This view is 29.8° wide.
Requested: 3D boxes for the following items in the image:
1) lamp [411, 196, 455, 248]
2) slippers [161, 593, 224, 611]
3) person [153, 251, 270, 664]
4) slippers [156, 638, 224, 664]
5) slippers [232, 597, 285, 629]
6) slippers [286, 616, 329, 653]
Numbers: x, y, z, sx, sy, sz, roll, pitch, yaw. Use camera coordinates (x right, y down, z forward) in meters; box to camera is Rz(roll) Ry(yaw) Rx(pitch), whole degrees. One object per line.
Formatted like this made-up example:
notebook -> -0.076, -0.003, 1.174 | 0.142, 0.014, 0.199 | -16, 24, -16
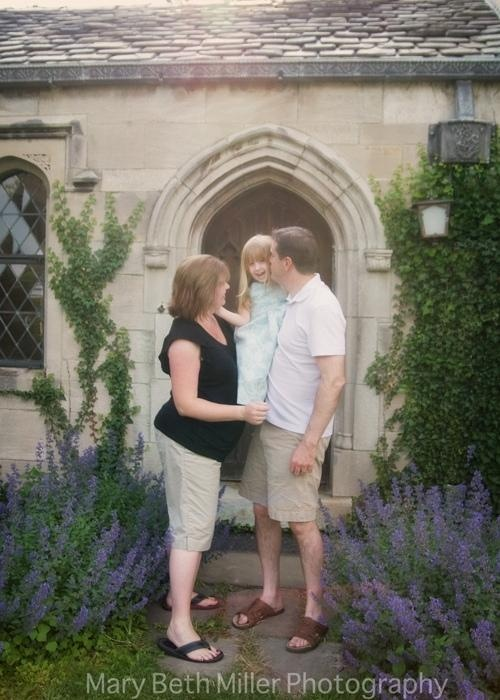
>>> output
lamp -> 1.228, -0.845, 6.287 | 0.288, 0.260, 0.246 | 0, -6, 6
slippers -> -0.329, 1.380, 5.148 | 0.306, 0.070, 0.113 | -2, -2, 5
person -> -0.250, 0.527, 4.754 | 0.465, 1.942, 0.649 | -1, 10, -6
slippers -> -0.309, 1.458, 4.661 | 0.269, 0.068, 0.127 | 2, 2, 22
slippers -> 0.047, 1.392, 4.977 | 0.266, 0.084, 0.095 | -1, 4, -38
slippers -> 0.292, 1.439, 4.752 | 0.109, 0.093, 0.231 | -1, -2, 34
